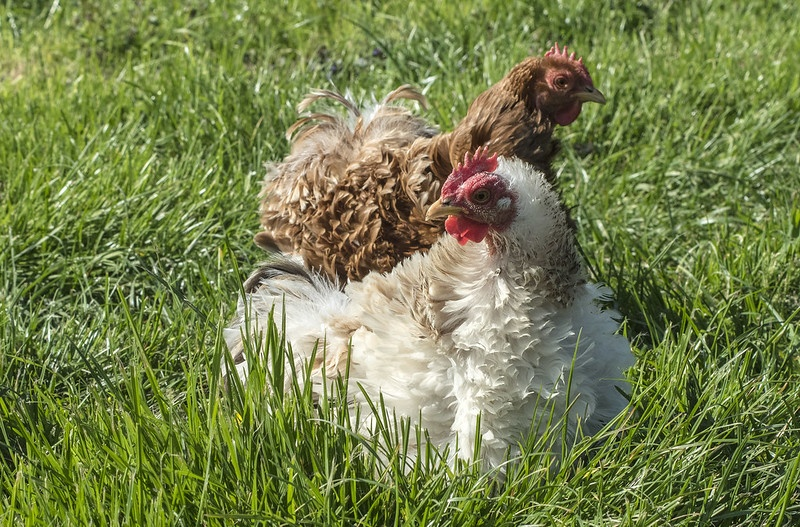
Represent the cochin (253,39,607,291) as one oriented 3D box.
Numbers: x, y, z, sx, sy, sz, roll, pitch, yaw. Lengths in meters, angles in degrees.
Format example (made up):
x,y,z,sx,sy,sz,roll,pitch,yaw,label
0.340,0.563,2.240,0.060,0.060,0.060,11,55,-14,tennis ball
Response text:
x,y,z,sx,sy,sz,roll,pitch,yaw,label
0.212,-0.504,5.521,1.745,1.324,1.099,-1,21,9,cochin
